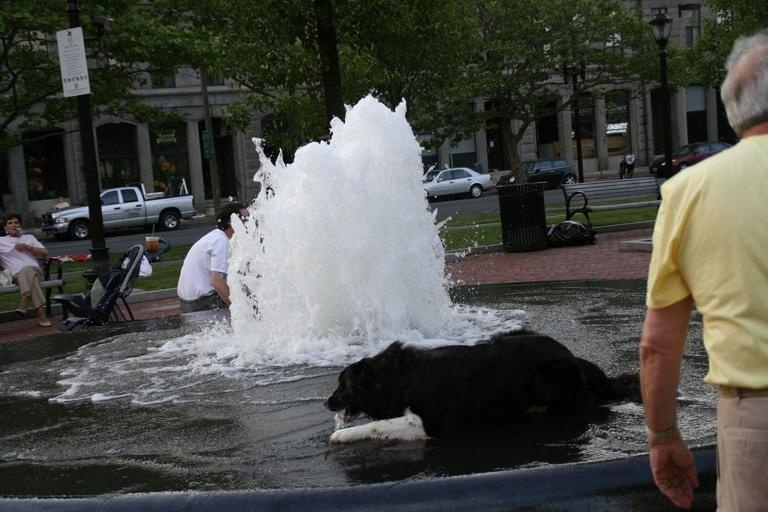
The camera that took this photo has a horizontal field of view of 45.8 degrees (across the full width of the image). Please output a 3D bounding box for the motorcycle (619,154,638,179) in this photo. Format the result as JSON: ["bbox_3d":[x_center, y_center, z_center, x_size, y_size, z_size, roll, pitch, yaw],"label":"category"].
[{"bbox_3d":[11.964,-4.475,44.782,0.654,1.096,2.915,-4,5,14],"label":"motorcycle"}]

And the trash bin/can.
[{"bbox_3d":[2.671,-0.814,17.852,0.885,1.368,1.102,-6,7,-13],"label":"trash bin/can"}]

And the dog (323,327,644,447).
[{"bbox_3d":[0.751,0.938,6.832,2.423,0.695,0.878,-7,-1,-3],"label":"dog"}]

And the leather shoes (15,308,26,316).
[{"bbox_3d":[-5.743,0.874,14.455,0.097,0.088,0.216,-8,6,-3],"label":"leather shoes"}]

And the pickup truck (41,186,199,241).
[{"bbox_3d":[-9.571,-1.648,33.409,5.111,1.604,2.097,-8,7,-31],"label":"pickup truck"}]

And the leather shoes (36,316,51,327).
[{"bbox_3d":[-5.192,1.013,13.920,0.114,0.147,0.354,-2,-2,-29],"label":"leather shoes"}]
